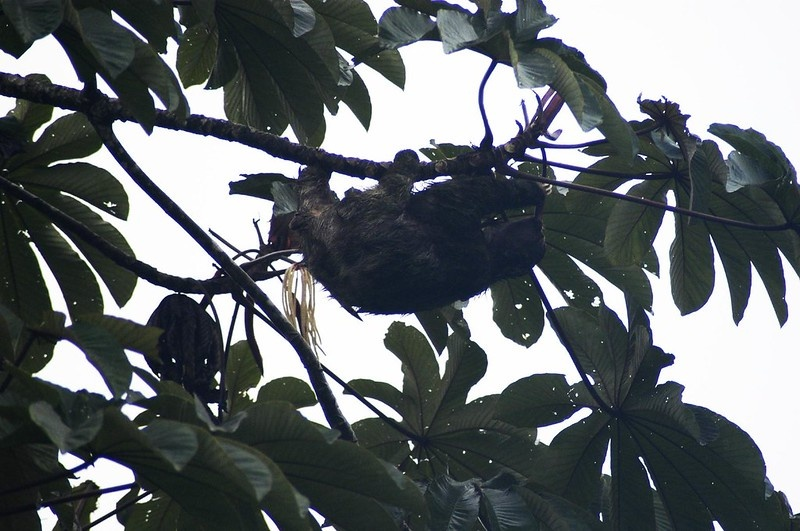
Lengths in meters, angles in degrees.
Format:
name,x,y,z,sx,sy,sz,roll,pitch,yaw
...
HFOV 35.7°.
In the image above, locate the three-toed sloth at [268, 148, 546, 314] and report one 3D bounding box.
name,x,y,z,sx,sy,sz,roll,pitch,yaw
three-toed sloth,0.063,-0.178,7.430,1.292,0.943,0.588,9,-58,-2
